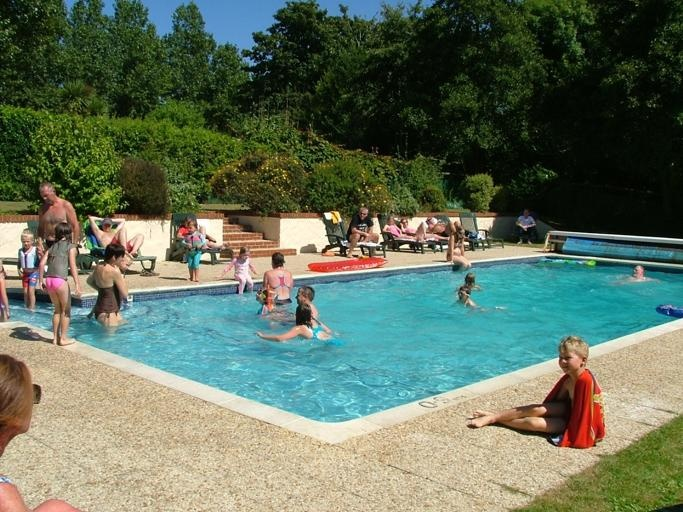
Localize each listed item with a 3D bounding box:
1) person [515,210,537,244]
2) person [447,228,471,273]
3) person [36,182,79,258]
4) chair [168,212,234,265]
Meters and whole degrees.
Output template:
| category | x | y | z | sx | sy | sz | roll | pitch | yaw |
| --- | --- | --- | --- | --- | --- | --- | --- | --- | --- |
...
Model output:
| category | x | y | z | sx | sy | sz | roll | pitch | yaw |
| --- | --- | --- | --- | --- | --- | --- | --- | --- | --- |
| person | 7.932 | -1.307 | 24.724 | 0.799 | 1.419 | 1.699 | 3 | 7 | 17 |
| person | 3.248 | -0.274 | 16.041 | 0.583 | 1.255 | 2.140 | 2 | 7 | 10 |
| person | -4.689 | -0.620 | 9.396 | 0.582 | 1.164 | 1.217 | -3 | 8 | -28 |
| chair | -4.071 | -0.470 | 15.514 | 2.124 | 1.452 | 1.295 | 5 | 8 | 36 |
